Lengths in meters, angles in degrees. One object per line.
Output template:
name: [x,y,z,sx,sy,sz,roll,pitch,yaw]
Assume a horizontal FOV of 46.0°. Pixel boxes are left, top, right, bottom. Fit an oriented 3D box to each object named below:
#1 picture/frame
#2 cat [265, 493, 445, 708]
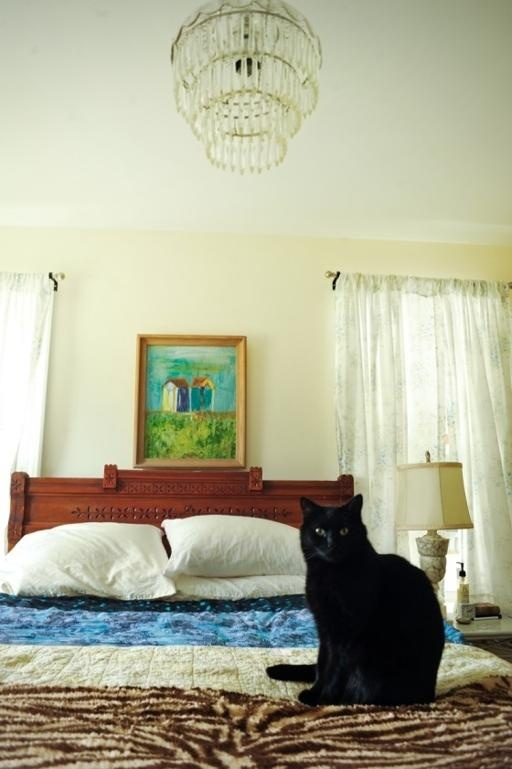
picture/frame: [-0.369,0.128,3.223,0.720,0.919,0.070,0,-13,-4]
cat: [0.199,0.386,1.102,0.270,0.374,0.216,7,-3,-23]
